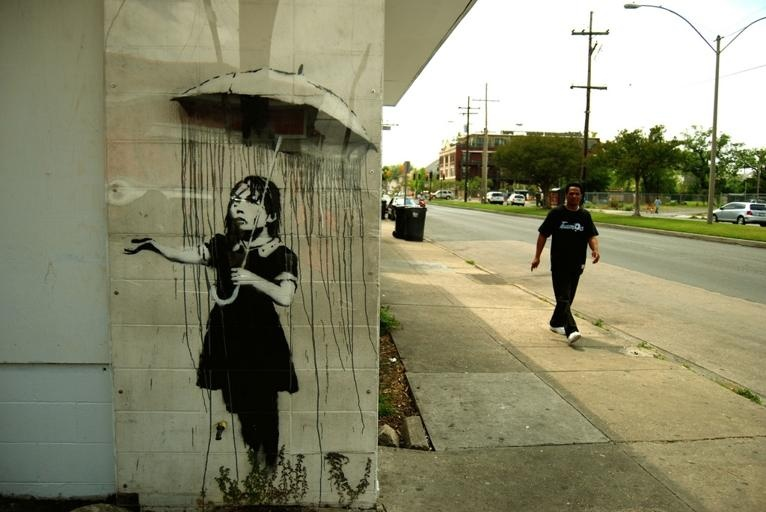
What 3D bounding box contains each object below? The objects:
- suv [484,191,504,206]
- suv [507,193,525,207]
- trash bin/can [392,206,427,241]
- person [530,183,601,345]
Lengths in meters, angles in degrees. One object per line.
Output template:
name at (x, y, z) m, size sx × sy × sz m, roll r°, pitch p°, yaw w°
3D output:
suv at (10.038, -5.047, 75.055) m, size 1.028 × 0.870 × 1.899 m, roll -1°, pitch -1°, yaw 2°
suv at (10.906, -4.416, 68.795) m, size 0.951 × 0.835 × 2.263 m, roll 2°, pitch 12°, yaw 8°
trash bin/can at (0.768, -0.857, 23.777) m, size 0.834 × 0.906 × 1.024 m, roll 1°, pitch -2°, yaw -9°
person at (2.344, 0.058, 10.872) m, size 0.828 × 1.961 × 1.070 m, roll 3°, pitch 6°, yaw 10°
